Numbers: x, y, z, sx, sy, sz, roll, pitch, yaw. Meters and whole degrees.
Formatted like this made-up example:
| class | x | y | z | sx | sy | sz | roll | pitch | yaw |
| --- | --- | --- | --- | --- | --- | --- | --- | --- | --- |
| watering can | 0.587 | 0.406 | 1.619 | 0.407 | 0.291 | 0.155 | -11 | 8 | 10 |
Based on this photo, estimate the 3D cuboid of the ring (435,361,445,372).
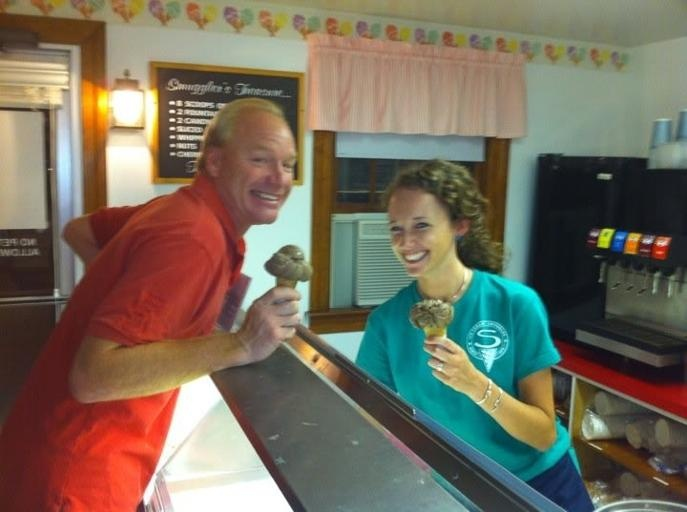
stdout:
| class | x | y | z | sx | sy | sz | roll | pitch | yaw |
| --- | --- | --- | --- | --- | --- | --- | --- | --- | --- |
| ring | 0.274 | 0.320 | 1.434 | 0.023 | 0.024 | 0.024 | -3 | -4 | 0 |

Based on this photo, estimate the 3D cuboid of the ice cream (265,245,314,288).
| class | x | y | z | sx | sy | sz | roll | pitch | yaw |
| --- | --- | --- | --- | --- | --- | --- | --- | --- | --- |
| ice cream | -0.143 | 0.028 | 1.312 | 0.123 | 0.133 | 0.106 | -5 | 25 | -39 |

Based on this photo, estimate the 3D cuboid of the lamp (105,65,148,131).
| class | x | y | z | sx | sy | sz | roll | pitch | yaw |
| --- | --- | --- | --- | --- | --- | --- | --- | --- | --- |
| lamp | -1.320 | -0.960 | 3.049 | 0.219 | 0.348 | 0.195 | 0 | 11 | -16 |
